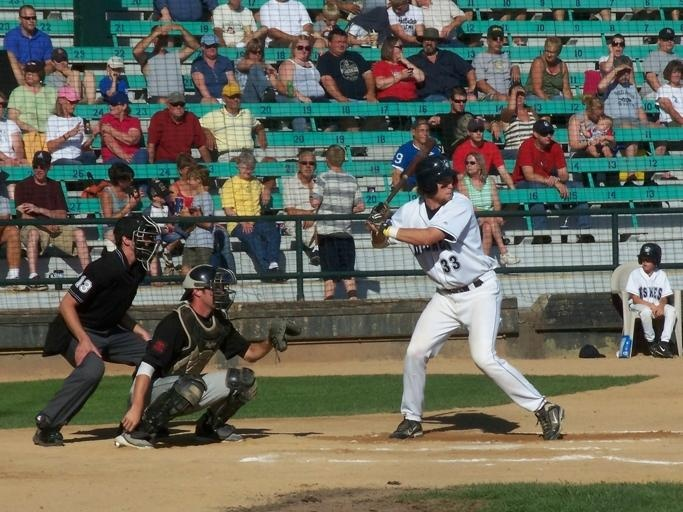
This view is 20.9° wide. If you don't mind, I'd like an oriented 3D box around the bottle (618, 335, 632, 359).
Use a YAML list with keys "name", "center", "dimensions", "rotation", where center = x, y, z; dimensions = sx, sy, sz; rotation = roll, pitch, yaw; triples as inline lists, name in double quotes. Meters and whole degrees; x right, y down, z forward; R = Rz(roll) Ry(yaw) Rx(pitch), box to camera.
- name: "bottle"
  center: [4.073, 1.286, 26.737]
  dimensions: [0.195, 0.319, 0.214]
  rotation: [-2, 4, 0]

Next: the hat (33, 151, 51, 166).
- name: "hat"
  center: [-4.368, -1.431, 27.072]
  dimensions: [0.256, 0.221, 0.278]
  rotation: [-2, 4, -9]

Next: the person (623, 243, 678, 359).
- name: "person"
  center: [4.455, 0.621, 26.796]
  dimensions: [0.701, 1.620, 0.483]
  rotation: [0, 4, 17]

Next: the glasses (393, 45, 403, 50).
- name: "glasses"
  center: [0.857, -3.264, 28.866]
  dimensions: [0.083, 0.078, 0.026]
  rotation: [-3, -4, -8]

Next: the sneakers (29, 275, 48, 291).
- name: "sneakers"
  center: [-4.324, 0.392, 26.514]
  dimensions: [0.136, 0.147, 0.387]
  rotation: [2, -9, -16]

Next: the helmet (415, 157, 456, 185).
- name: "helmet"
  center: [1.148, -1.061, 22.780]
  dimensions: [0.409, 0.204, 0.313]
  rotation: [-3, 11, 30]

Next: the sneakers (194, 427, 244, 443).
- name: "sneakers"
  center: [-1.503, 2.176, 22.750]
  dimensions: [0.409, 0.135, 0.231]
  rotation: [-2, -1, 2]

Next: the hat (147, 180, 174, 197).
- name: "hat"
  center: [-2.701, -0.980, 27.192]
  dimensions: [0.343, 0.187, 0.229]
  rotation: [9, 25, 20]

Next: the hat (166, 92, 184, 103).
- name: "hat"
  center: [-2.495, -2.395, 27.883]
  dimensions: [0.239, 0.124, 0.326]
  rotation: [2, 10, -7]

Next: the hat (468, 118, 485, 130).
- name: "hat"
  center: [2.012, -1.991, 27.909]
  dimensions: [0.180, 0.202, 0.243]
  rotation: [-5, 5, -38]

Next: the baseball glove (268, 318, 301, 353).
- name: "baseball glove"
  center: [-0.706, 0.928, 22.544]
  dimensions: [0.487, 0.478, 0.378]
  rotation: [2, -9, 0]

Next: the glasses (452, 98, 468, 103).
- name: "glasses"
  center: [1.831, -2.389, 28.542]
  dimensions: [0.243, 0.053, 0.134]
  rotation: [-4, 4, -32]

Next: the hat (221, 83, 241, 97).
- name: "hat"
  center: [-1.677, -2.536, 28.278]
  dimensions: [0.251, 0.207, 0.201]
  rotation: [-2, 4, -13]

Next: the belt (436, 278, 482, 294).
- name: "belt"
  center: [1.433, 0.363, 22.845]
  dimensions: [0.610, 0.191, 0.127]
  rotation: [0, 5, 25]

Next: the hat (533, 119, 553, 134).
- name: "hat"
  center: [3.041, -1.952, 27.992]
  dimensions: [0.302, 0.233, 0.259]
  rotation: [-1, 4, 4]

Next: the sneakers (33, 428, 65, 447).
- name: "sneakers"
  center: [-3.549, 2.191, 22.494]
  dimensions: [0.263, 0.111, 0.253]
  rotation: [1, 5, -29]

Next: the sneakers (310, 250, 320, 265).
- name: "sneakers"
  center: [-0.386, 0.011, 27.033]
  dimensions: [0.122, 0.197, 0.130]
  rotation: [0, 6, 3]

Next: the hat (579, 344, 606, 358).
- name: "hat"
  center: [3.628, 1.364, 27.097]
  dimensions: [0.318, 0.153, 0.195]
  rotation: [-4, 7, 3]

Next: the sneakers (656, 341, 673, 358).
- name: "sneakers"
  center: [4.622, 1.320, 26.616]
  dimensions: [0.235, 0.243, 0.113]
  rotation: [-1, 4, 8]

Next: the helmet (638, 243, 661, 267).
- name: "helmet"
  center: [4.430, -0.028, 26.785]
  dimensions: [0.272, 0.264, 0.359]
  rotation: [8, 12, 22]

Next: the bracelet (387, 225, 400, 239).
- name: "bracelet"
  center: [0.630, -0.315, 22.780]
  dimensions: [0.117, 0.096, 0.151]
  rotation: [-42, 51, -20]

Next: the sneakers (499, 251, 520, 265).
- name: "sneakers"
  center: [2.464, 0.031, 27.371]
  dimensions: [0.388, 0.231, 0.124]
  rotation: [-7, 20, -3]

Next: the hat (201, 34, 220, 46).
- name: "hat"
  center: [-2.049, -3.372, 28.834]
  dimensions: [0.244, 0.164, 0.376]
  rotation: [0, 6, -14]

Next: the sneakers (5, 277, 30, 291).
- name: "sneakers"
  center: [-4.627, 0.397, 26.462]
  dimensions: [0.342, 0.199, 0.207]
  rotation: [-2, 4, -6]

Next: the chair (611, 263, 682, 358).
- name: "chair"
  center: [4.772, 0.772, 27.420]
  dimensions: [1.258, 1.575, 1.261]
  rotation: [1, -5, -4]

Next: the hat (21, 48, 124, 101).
- name: "hat"
  center: [-4.026, -2.826, 28.786]
  dimensions: [1.379, 0.887, 1.106]
  rotation: [-1, 4, 2]

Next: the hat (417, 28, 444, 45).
- name: "hat"
  center: [1.374, -3.490, 29.347]
  dimensions: [0.364, 0.149, 0.413]
  rotation: [2, 4, 3]
